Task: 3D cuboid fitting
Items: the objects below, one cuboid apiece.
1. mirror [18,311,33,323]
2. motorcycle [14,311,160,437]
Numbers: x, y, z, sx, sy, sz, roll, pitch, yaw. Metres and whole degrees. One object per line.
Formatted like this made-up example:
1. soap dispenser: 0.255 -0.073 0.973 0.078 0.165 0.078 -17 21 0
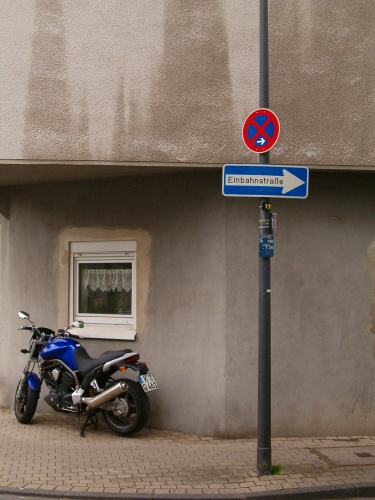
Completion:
1. mirror: -2.092 0.856 7.733 0.267 0.038 0.090 36 -51 -3
2. motorcycle: -1.334 1.442 6.993 2.249 1.211 0.822 -4 0 36
